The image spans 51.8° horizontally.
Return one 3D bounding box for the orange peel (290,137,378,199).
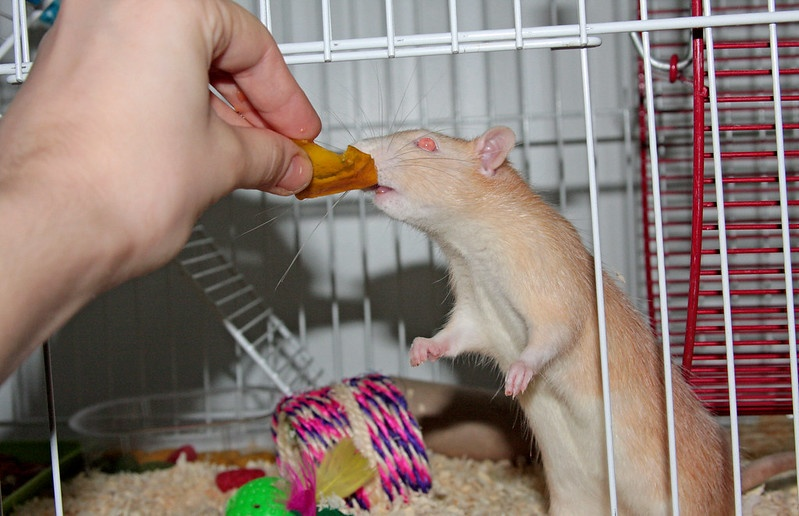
[{"bbox_3d":[-0.221,-0.323,3.120,0.223,0.076,0.248,-10,70,-24],"label":"orange peel"}]
